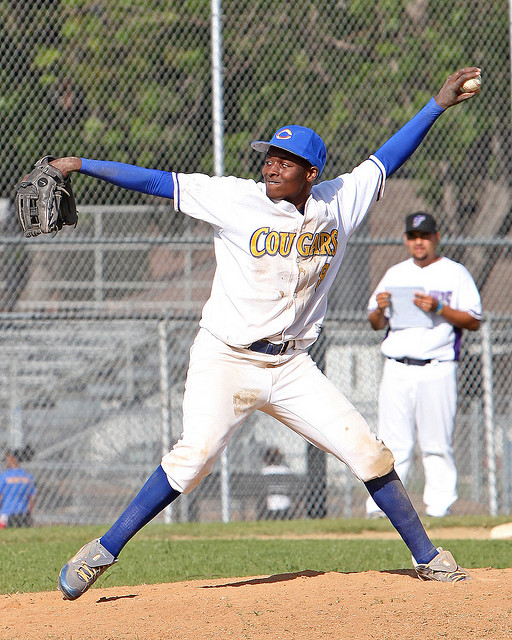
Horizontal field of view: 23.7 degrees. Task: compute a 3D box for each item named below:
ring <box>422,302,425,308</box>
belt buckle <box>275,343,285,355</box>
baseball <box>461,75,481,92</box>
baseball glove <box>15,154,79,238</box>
[{"bbox_3d":[1.074,-0.102,7.810,0.007,0.030,0.027,6,-15,-36],"label":"ring"},{"bbox_3d":[0.108,0.125,5.506,0.004,0.057,0.009,25,-25,-1],"label":"belt buckle"},{"bbox_3d":[1.034,-1.119,5.772,0.071,0.081,0.147,4,4,41],"label":"baseball"},{"bbox_3d":[-0.923,-0.544,5.407,0.122,0.374,0.249,7,2,27],"label":"baseball glove"}]
